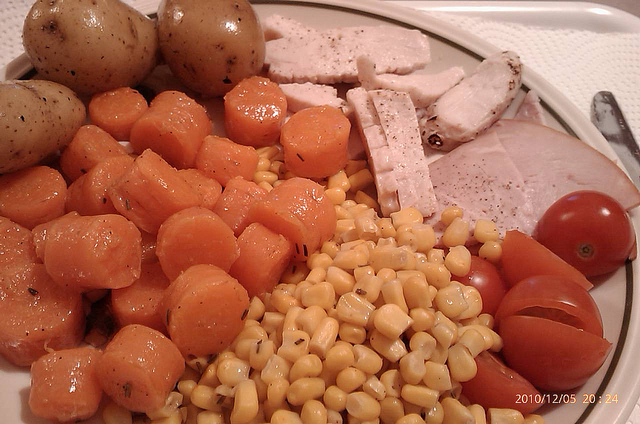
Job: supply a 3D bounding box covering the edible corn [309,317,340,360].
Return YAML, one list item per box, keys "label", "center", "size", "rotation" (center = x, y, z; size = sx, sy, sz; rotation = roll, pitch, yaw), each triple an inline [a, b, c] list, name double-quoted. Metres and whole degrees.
- label: "edible corn"
  center: [0.027, 0.586, 2.695]
  size: [0.114, 0.079, 0.216]
  rotation: [18, 39, 15]

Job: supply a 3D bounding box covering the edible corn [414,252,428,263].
- label: "edible corn"
  center: [0.531, 0.223, 2.902]
  size: [0.045, 0.022, 0.048]
  rotation: [9, 33, -18]

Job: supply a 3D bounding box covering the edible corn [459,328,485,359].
- label: "edible corn"
  center: [0.714, 0.611, 2.638]
  size: [0.121, 0.055, 0.123]
  rotation: [-38, 86, -5]

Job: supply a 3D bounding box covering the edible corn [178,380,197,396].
- label: "edible corn"
  center: [-0.618, 0.819, 2.646]
  size: [0.070, 0.055, 0.058]
  rotation: [24, 48, 7]

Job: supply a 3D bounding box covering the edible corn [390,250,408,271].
- label: "edible corn"
  center: [0.400, 0.236, 2.874]
  size: [0.086, 0.066, 0.094]
  rotation: [7, 85, -10]

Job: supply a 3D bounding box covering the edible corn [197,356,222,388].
- label: "edible corn"
  center: [-0.521, 0.760, 2.641]
  size: [0.089, 0.037, 0.101]
  rotation: [-5, 65, 23]

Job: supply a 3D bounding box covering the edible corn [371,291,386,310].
- label: "edible corn"
  center: [0.296, 0.433, 2.764]
  size: [0.017, 0.068, 0.070]
  rotation: [-2, 61, -39]

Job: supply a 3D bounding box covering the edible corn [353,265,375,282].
- label: "edible corn"
  center: [0.215, 0.305, 2.824]
  size: [0.072, 0.042, 0.077]
  rotation: [0, 38, 9]

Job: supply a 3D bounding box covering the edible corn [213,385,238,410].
- label: "edible corn"
  center: [-0.437, 0.844, 2.584]
  size: [0.078, 0.046, 0.119]
  rotation: [-15, 109, 3]

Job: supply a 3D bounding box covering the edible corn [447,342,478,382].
- label: "edible corn"
  center: [0.657, 0.702, 2.621]
  size: [0.118, 0.084, 0.175]
  rotation: [-25, 75, -11]

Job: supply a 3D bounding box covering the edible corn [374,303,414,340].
- label: "edible corn"
  center: [0.341, 0.504, 2.629]
  size: [0.156, 0.062, 0.154]
  rotation: [43, 68, 15]

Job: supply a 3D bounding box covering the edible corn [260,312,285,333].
- label: "edible corn"
  center: [-0.231, 0.536, 2.769]
  size: [0.085, 0.084, 0.122]
  rotation: [22, 94, -17]

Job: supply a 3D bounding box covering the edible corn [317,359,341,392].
- label: "edible corn"
  center: [0.046, 0.772, 2.706]
  size: [0.092, 0.065, 0.124]
  rotation: [-9, 99, -4]

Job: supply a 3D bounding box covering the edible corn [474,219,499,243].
- label: "edible corn"
  center: [0.892, 0.093, 3.024]
  size: [0.109, 0.048, 0.120]
  rotation: [1, 56, -4]

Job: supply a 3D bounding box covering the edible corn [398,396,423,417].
- label: "edible corn"
  center: [0.432, 0.895, 2.628]
  size: [0.088, 0.082, 0.021]
  rotation: [34, 65, -23]

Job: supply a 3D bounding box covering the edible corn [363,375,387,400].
- label: "edible corn"
  center: [0.251, 0.803, 2.582]
  size: [0.079, 0.050, 0.101]
  rotation: [-14, 89, -7]

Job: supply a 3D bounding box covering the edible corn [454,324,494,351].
- label: "edible corn"
  center: [0.748, 0.575, 2.709]
  size: [0.128, 0.059, 0.134]
  rotation: [22, 29, 1]

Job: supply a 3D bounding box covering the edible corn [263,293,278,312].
- label: "edible corn"
  center: [-0.250, 0.449, 2.869]
  size: [0.031, 0.081, 0.085]
  rotation: [-17, 88, -8]

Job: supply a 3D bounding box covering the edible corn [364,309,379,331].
- label: "edible corn"
  center: [0.243, 0.511, 2.696]
  size: [0.027, 0.079, 0.082]
  rotation: [17, 102, 9]

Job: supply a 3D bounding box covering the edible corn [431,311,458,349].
- label: "edible corn"
  center: [0.579, 0.544, 2.681]
  size: [0.142, 0.046, 0.150]
  rotation: [-13, 88, -26]

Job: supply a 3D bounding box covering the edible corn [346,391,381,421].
- label: "edible corn"
  center: [0.194, 0.874, 2.557]
  size: [0.105, 0.140, 0.077]
  rotation: [28, 88, 16]

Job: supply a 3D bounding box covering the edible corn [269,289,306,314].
- label: "edible corn"
  center: [-0.169, 0.432, 2.816]
  size: [0.131, 0.106, 0.054]
  rotation: [28, 101, 6]

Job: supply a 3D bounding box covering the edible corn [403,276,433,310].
- label: "edible corn"
  center: [0.469, 0.391, 2.709]
  size: [0.104, 0.082, 0.164]
  rotation: [-14, 97, 26]

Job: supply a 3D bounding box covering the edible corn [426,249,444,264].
- label: "edible corn"
  center: [0.601, 0.225, 2.928]
  size: [0.059, 0.081, 0.066]
  rotation: [31, 104, 18]

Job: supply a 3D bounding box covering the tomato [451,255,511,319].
- label: "tomato"
  center: [0.847, 0.332, 2.981]
  size: [0.234, 0.258, 0.415]
  rotation: [11, 26, 34]

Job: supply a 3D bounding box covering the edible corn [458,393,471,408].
- label: "edible corn"
  center: [0.690, 0.889, 2.680]
  size: [0.041, 0.020, 0.055]
  rotation: [-7, 59, -38]

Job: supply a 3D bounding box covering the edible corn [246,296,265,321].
- label: "edible corn"
  center: [-0.313, 0.477, 2.794]
  size: [0.098, 0.034, 0.107]
  rotation: [-1, 68, -17]

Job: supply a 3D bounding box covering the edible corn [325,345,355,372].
- label: "edible corn"
  center: [0.090, 0.675, 2.647]
  size: [0.108, 0.109, 0.100]
  rotation: [-13, 84, 1]

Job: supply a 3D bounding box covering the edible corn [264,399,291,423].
- label: "edible corn"
  center: [-0.197, 0.909, 2.620]
  size: [0.103, 0.109, 0.108]
  rotation: [-1, 74, 0]

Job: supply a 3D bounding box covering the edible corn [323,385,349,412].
- label: "edible corn"
  center: [0.077, 0.855, 2.647]
  size: [0.100, 0.098, 0.129]
  rotation: [1, 97, 4]

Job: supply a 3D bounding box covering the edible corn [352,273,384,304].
- label: "edible corn"
  center: [0.242, 0.361, 2.747]
  size: [0.132, 0.058, 0.137]
  rotation: [36, 88, 22]

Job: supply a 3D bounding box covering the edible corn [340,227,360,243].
- label: "edible corn"
  center: [0.166, 0.126, 3.023]
  size: [0.064, 0.072, 0.057]
  rotation: [6, 66, -50]
